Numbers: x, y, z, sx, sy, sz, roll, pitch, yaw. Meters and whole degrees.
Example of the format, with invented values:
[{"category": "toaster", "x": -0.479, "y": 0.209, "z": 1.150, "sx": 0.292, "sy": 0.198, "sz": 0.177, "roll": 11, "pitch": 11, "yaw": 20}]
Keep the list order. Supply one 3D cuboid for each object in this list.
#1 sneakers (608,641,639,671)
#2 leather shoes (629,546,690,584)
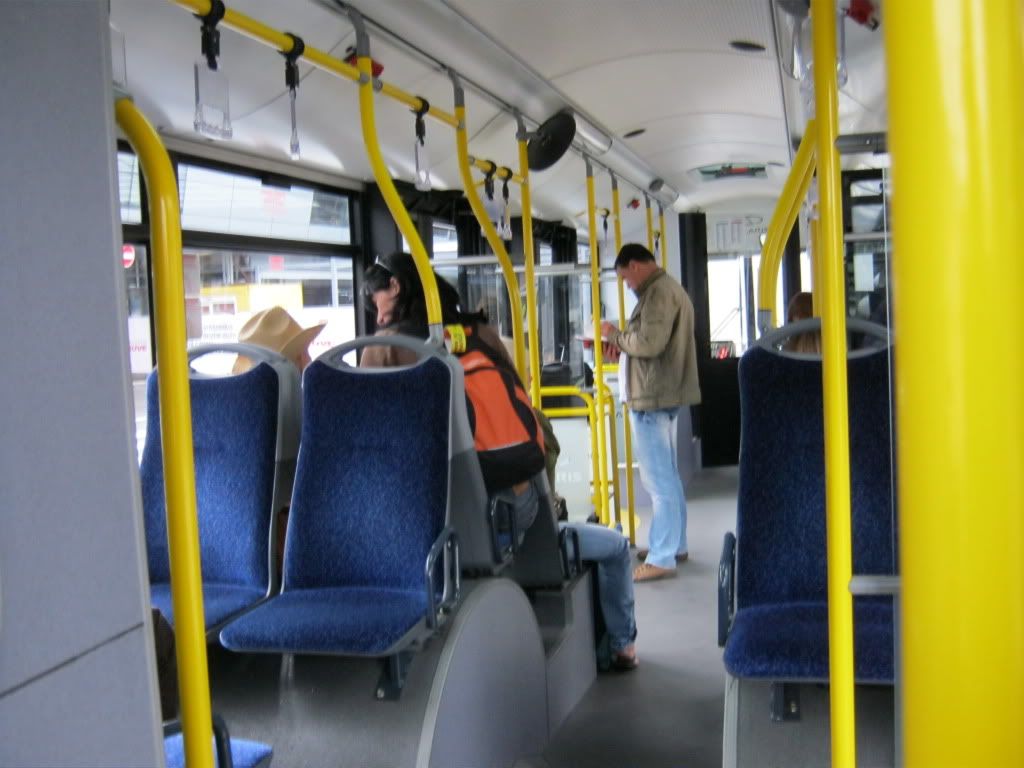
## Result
[{"category": "sneakers", "x": 0.440, "y": 1.089, "z": 3.588, "sx": 0.118, "sy": 0.131, "sz": 0.072, "roll": -1, "pitch": 3, "yaw": -42}, {"category": "leather shoes", "x": 0.821, "y": 1.001, "z": 4.885, "sx": 0.373, "sy": 0.190, "sz": 0.137, "roll": 3, "pitch": -2, "yaw": -10}]
